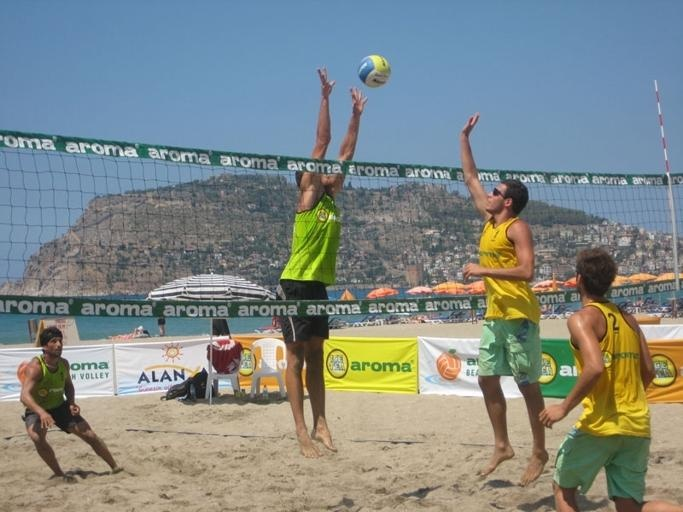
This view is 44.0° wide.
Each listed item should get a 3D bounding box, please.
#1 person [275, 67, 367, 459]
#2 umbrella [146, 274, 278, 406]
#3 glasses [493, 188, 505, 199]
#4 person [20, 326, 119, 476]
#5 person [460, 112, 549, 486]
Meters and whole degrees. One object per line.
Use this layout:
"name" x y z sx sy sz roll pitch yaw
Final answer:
"person" -0.202 0.031 8.081 0.846 2.963 0.599 -4 -2 -6
"umbrella" -1.707 0.916 11.174 1.771 1.912 1.843 -3 -14 15
"glasses" 1.430 -0.554 7.596 0.094 0.031 0.079 13 5 -16
"person" -3.032 1.673 9.468 0.971 1.707 0.888 2 -40 -49
"person" 1.433 0.325 7.551 0.650 3.023 1.193 -5 -2 13
